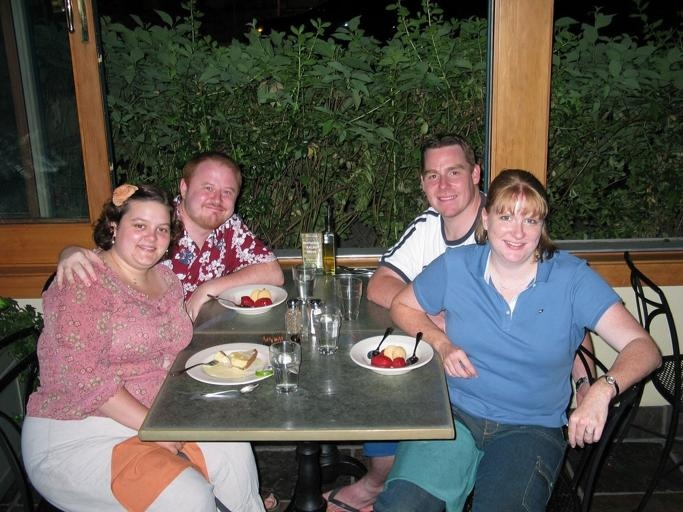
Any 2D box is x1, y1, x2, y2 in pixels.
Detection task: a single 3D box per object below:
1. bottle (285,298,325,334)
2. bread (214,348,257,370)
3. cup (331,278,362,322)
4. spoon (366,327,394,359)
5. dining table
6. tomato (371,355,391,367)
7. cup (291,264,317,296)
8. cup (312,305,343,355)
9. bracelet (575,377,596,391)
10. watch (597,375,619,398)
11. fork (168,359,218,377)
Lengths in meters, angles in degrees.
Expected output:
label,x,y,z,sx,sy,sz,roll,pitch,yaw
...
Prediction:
label,x,y,z,sx,sy,sz,roll,pitch,yaw
bottle,-0.161,0.235,2.316,0.184,0.185,0.100,3,15,1
bread,-0.380,0.363,2.014,0.083,0.036,0.083,0,22,7
cup,0.021,0.187,2.471,0.166,0.235,0.158,-1,3,0
spoon,0.143,0.332,2.130,0.045,0.029,0.195,17,41,16
dining table,-0.117,0.724,2.224,0.967,0.813,0.916,-1,14,1
tomato,0.141,0.372,1.984,0.039,0.029,0.047,2,8,-37
cup,-0.169,0.110,2.607,0.128,0.191,0.127,-1,15,0
cup,-0.057,0.288,2.139,0.109,0.157,0.104,1,26,-1
bracelet,0.921,0.486,2.112,0.057,0.033,0.077,-1,-16,14
watch,0.905,0.440,1.901,0.066,0.082,0.038,11,19,39
fork,-0.519,0.397,1.991,0.125,0.017,0.020,-14,46,-25
